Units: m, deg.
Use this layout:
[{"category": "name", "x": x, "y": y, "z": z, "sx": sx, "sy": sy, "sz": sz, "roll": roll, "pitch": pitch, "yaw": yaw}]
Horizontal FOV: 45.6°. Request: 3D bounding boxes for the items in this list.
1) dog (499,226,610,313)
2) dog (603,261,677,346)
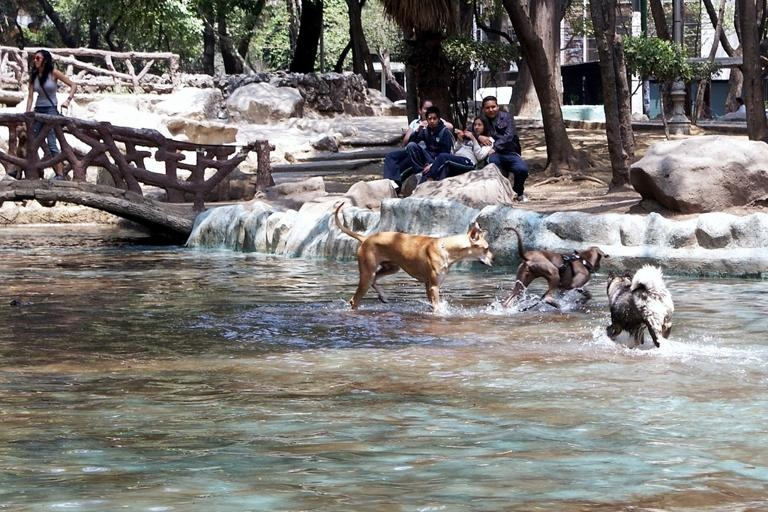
[{"category": "dog", "x": 2.013, "y": 0.190, "z": 10.527, "sx": 1.566, "sy": 0.840, "sz": 0.532, "roll": 3, "pitch": -7, "yaw": -32}, {"category": "dog", "x": 2.347, "y": 0.476, "z": 8.388, "sx": 0.410, "sy": 0.841, "sz": 0.777, "roll": -2, "pitch": 10, "yaw": -4}]
